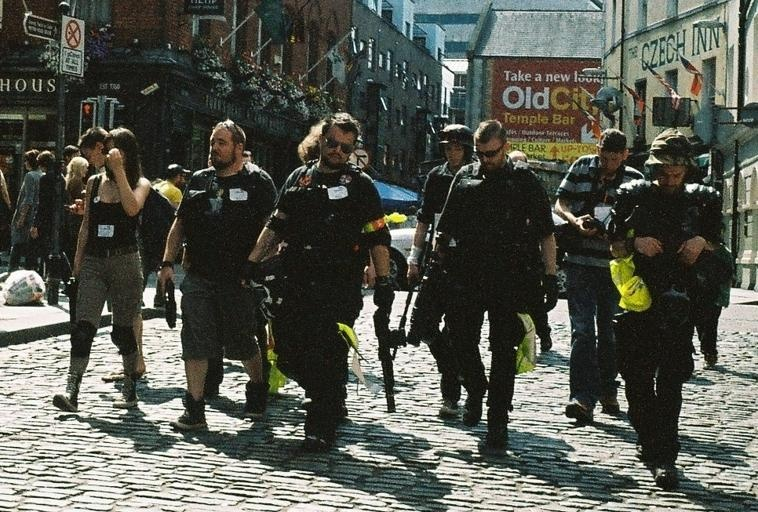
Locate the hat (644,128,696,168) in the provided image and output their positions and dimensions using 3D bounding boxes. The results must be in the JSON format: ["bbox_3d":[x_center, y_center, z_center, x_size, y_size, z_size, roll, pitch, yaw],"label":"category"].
[{"bbox_3d":[2.142,-0.792,7.089,0.328,0.279,0.285,3,7,15],"label":"hat"}]

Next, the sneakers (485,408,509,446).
[{"bbox_3d":[0.934,1.332,7.561,0.161,0.279,0.231,2,7,6],"label":"sneakers"}]

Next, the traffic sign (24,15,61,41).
[{"bbox_3d":[-5.128,-3.531,14.760,0.592,0.360,0.431,-4,9,-41],"label":"traffic sign"}]

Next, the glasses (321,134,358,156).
[{"bbox_3d":[-0.294,-0.870,7.597,0.303,0.139,0.176,0,7,-14],"label":"glasses"}]

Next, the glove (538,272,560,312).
[{"bbox_3d":[1.411,0.301,7.766,0.134,0.263,0.200,-3,7,-25],"label":"glove"}]

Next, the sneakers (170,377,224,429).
[{"bbox_3d":[-1.487,1.302,7.903,0.419,0.289,0.159,6,-7,-26],"label":"sneakers"}]

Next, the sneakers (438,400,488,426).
[{"bbox_3d":[0.667,1.305,8.115,0.455,0.174,0.163,11,-7,-10],"label":"sneakers"}]

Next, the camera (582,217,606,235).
[{"bbox_3d":[1.676,-0.226,7.511,0.172,0.103,0.426,3,7,11],"label":"camera"}]

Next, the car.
[{"bbox_3d":[1.962,-0.125,19.471,3.529,1.571,1.606,1,-3,1],"label":"car"}]

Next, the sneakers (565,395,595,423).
[{"bbox_3d":[1.728,1.327,8.280,0.134,0.136,0.284,21,-26,44],"label":"sneakers"}]

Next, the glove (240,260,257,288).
[{"bbox_3d":[-1.048,0.133,7.822,0.050,0.180,0.188,23,-3,-13],"label":"glove"}]

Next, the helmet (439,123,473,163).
[{"bbox_3d":[0.735,-1.058,9.044,0.323,0.326,0.358,5,12,23],"label":"helmet"}]

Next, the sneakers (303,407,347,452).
[{"bbox_3d":[-0.425,1.314,7.388,0.279,0.325,0.210,1,7,-6],"label":"sneakers"}]
